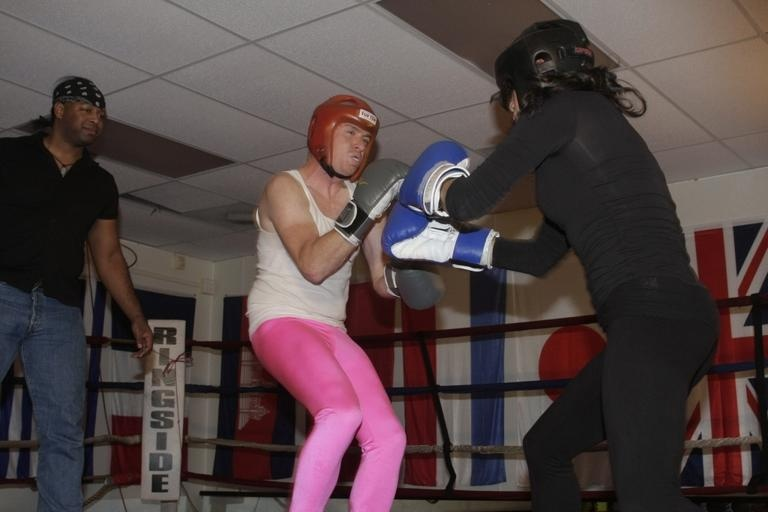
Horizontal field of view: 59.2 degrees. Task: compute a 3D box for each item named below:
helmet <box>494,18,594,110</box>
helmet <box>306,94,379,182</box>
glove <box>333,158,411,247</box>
[{"bbox_3d":[0.638,-0.785,2.827,0.323,0.334,0.397,-7,4,-31],"label":"helmet"},{"bbox_3d":[-0.214,-0.604,3.364,0.337,0.381,0.321,16,-2,-38],"label":"helmet"},{"bbox_3d":[-0.048,-0.249,3.074,0.291,0.394,0.157,41,-5,7],"label":"glove"}]
